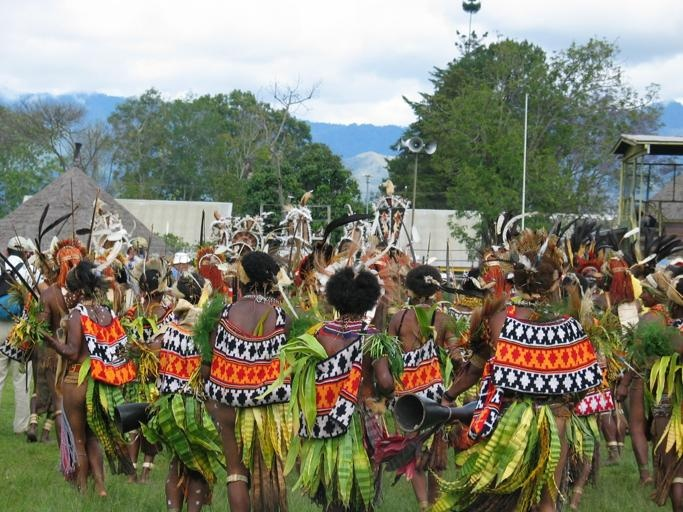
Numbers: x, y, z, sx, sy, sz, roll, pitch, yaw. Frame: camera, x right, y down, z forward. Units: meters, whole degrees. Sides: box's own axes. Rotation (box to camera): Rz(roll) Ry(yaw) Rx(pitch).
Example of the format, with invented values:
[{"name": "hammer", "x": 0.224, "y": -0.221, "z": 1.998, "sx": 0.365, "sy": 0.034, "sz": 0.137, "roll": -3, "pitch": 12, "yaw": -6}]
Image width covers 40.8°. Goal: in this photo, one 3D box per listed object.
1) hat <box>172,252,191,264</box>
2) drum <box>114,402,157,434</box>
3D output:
[{"name": "hat", "x": -2.055, "y": -0.009, "z": 11.753, "sx": 0.204, "sy": 0.176, "sz": 0.315, "roll": 0, "pitch": -13, "yaw": -2}, {"name": "drum", "x": -1.818, "y": 1.407, "z": 8.087, "sx": 0.274, "sy": 0.236, "sz": 0.222, "roll": -6, "pitch": 37, "yaw": -29}]
